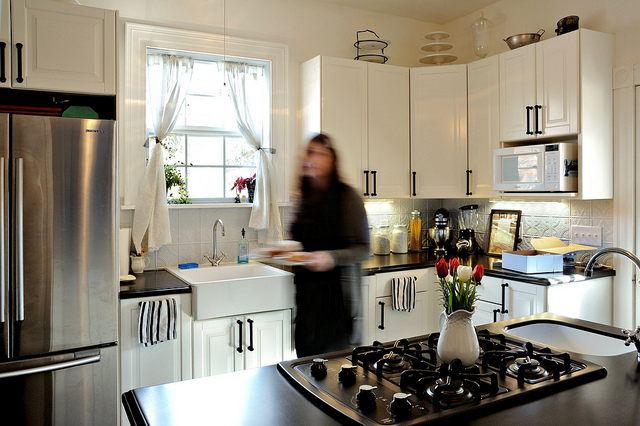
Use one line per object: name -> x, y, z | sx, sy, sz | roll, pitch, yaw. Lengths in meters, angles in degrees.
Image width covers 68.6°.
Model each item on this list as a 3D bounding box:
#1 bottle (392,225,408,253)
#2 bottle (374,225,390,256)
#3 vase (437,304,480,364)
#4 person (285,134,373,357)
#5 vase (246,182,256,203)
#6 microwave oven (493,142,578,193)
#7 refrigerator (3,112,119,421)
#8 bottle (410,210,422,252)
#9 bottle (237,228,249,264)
bottle -> 0.824, 0.264, 4.852 | 0.142, 0.258, 0.183 | 1, 9, 14
bottle -> 0.631, 0.274, 4.790 | 0.154, 0.267, 0.328 | 0, 9, 7
vase -> 0.623, 0.568, 2.188 | 0.186, 0.259, 0.271 | 1, -4, -18
person -> 0.048, 0.216, 2.482 | 0.429, 1.242, 0.312 | 0, 9, 6
vase -> -0.638, -0.197, 4.369 | 0.077, 0.188, 0.044 | -2, 9, -2
microwave oven -> 1.894, -0.366, 4.082 | 0.381, 0.416, 0.674 | -2, 3, -31
refrigerator -> -1.698, 0.398, 3.097 | 0.800, 2.073, 0.260 | -5, 10, -21
bottle -> 1.008, 0.192, 4.938 | 0.101, 0.403, 0.136 | 0, 9, 8
bottle -> -0.707, 0.300, 4.307 | 0.110, 0.298, 0.176 | -3, 9, -9
